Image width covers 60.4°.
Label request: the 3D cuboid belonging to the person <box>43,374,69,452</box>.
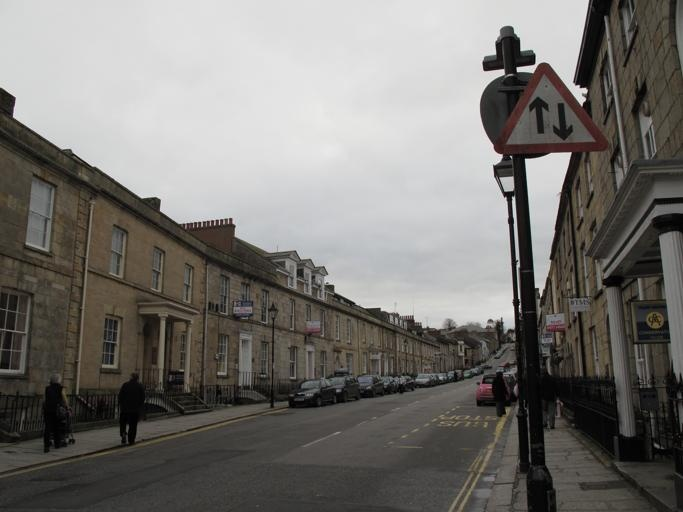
[{"bbox_3d":[-8.031,4.368,16.399,0.626,2.044,1.033,3,-8,-27],"label":"person"}]

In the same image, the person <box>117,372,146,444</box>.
[{"bbox_3d":[-6.378,4.617,17.690,0.694,2.048,0.889,3,-7,-23],"label":"person"}]
